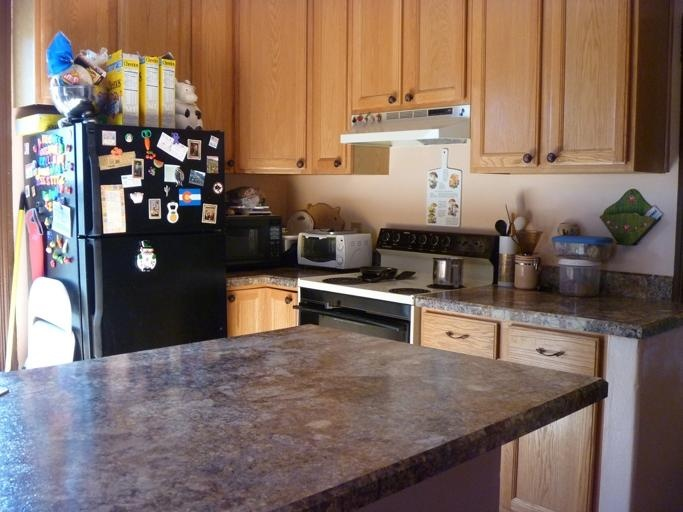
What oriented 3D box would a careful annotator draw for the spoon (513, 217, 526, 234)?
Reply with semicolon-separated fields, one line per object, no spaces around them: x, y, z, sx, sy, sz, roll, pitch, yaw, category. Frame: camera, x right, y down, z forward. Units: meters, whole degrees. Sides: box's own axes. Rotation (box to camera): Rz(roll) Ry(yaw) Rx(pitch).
0.967;-0.168;2.922;0.069;0.089;0.126;3;7;20;spoon

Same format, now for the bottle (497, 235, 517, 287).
0.896;0.026;2.958;0.073;0.276;0.151;-2;8;-20;bottle

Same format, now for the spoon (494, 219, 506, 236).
0.880;-0.154;2.972;0.062;0.084;0.092;3;7;15;spoon

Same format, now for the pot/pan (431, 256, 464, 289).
0.581;0.088;2.938;0.161;0.155;0.155;2;7;9;pot/pan

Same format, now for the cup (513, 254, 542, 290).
0.970;0.086;2.848;0.138;0.183;0.097;5;8;29;cup

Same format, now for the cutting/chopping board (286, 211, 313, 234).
-0.315;-0.248;3.955;0.085;0.174;0.292;-5;9;-42;cutting/chopping board

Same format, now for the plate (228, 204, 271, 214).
-0.605;-0.297;3.509;0.263;0.059;0.140;-1;7;-12;plate

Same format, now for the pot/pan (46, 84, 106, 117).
-1.320;-0.767;2.676;0.239;0.147;0.192;9;14;32;pot/pan
